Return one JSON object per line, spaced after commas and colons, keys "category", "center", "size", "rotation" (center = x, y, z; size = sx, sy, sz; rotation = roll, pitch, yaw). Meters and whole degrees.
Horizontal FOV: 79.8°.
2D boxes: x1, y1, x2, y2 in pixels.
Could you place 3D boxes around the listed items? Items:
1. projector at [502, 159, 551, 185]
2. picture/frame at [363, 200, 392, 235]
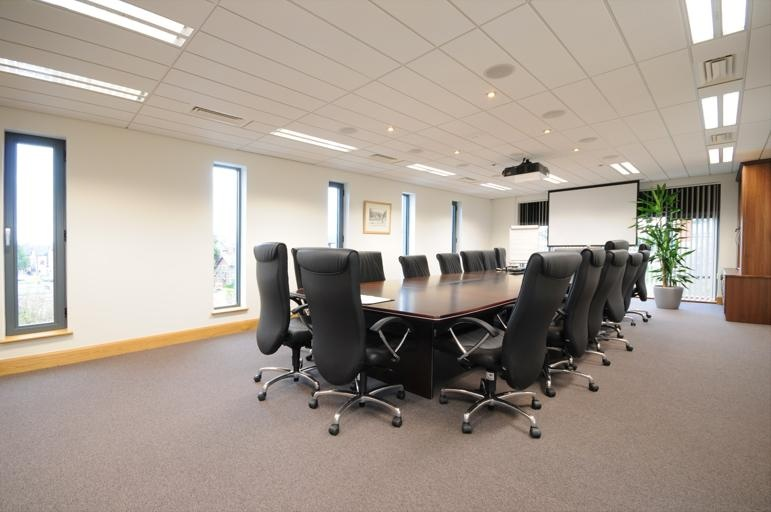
{"category": "projector", "center": [2.674, -1.512, 8.452], "size": [0.506, 0.319, 0.504], "rotation": [-2, 2, -43]}
{"category": "picture/frame", "center": [-0.157, -0.799, 9.741], "size": [0.785, 0.668, 0.031], "rotation": [9, 12, 42]}
